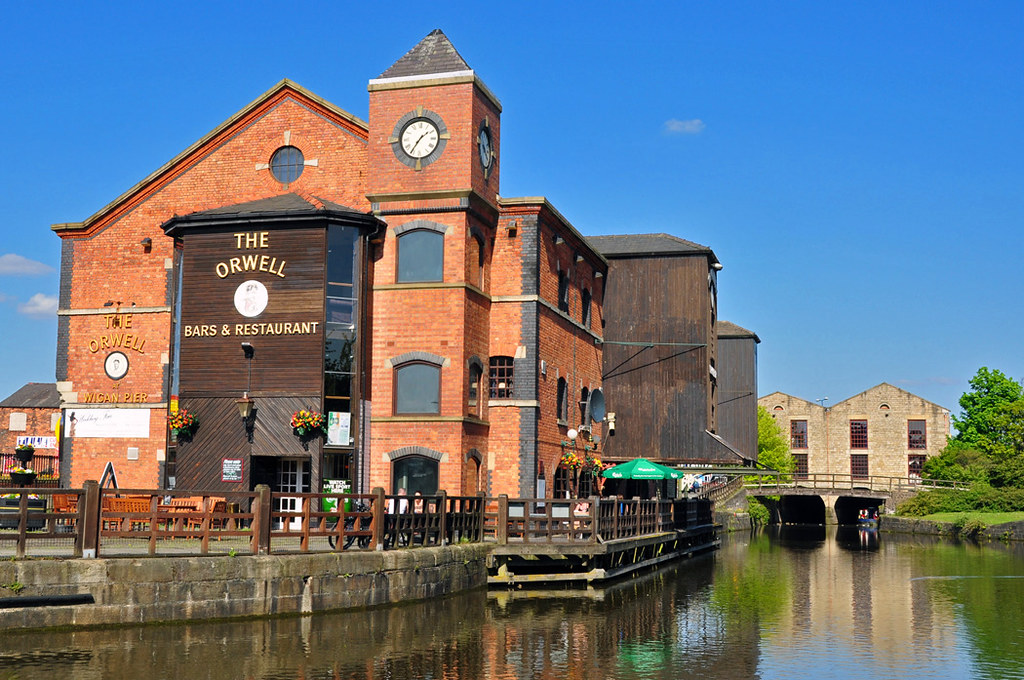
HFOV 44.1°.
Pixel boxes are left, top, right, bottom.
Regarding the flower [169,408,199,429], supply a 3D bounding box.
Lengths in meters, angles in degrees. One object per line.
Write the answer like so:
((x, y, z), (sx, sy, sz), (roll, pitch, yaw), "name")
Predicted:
((-11.483, 2.743, 43.967), (0.732, 0.503, 0.740), (-4, -6, 33), "flower")

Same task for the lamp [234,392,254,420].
((-9.188, 2.343, 43.318), (0.768, 1.071, 0.705), (0, -1, -19), "lamp")
